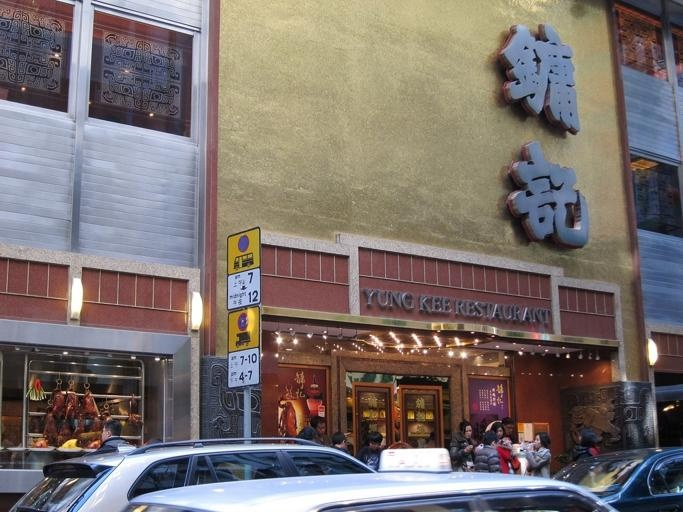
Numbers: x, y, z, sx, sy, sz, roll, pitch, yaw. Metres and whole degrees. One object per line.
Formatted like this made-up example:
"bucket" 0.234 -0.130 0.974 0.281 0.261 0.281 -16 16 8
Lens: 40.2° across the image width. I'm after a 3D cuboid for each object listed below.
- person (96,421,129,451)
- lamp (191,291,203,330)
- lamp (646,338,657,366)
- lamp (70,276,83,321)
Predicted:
"person" -3.392 2.621 13.857 0.381 0.470 0.798 -5 0 2
"lamp" -2.596 0.949 16.701 0.256 0.700 0.189 5 -18 -24
"lamp" 7.415 2.277 22.191 0.148 0.560 0.440 -2 -4 24
"lamp" -4.512 0.687 15.781 0.191 0.733 0.194 4 -17 -19
